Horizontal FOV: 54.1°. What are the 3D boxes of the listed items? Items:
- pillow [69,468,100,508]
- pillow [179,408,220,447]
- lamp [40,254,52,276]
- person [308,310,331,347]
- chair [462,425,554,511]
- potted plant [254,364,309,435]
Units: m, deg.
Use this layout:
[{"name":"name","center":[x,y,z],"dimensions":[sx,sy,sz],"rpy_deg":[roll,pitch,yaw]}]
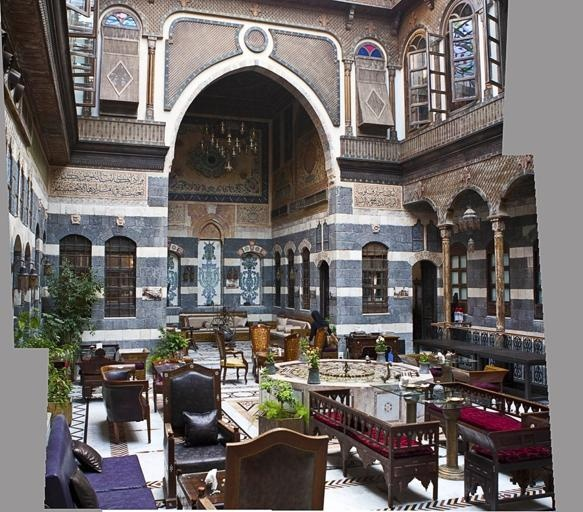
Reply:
[{"name":"pillow","center":[-1.597,1.792,4.324],"dimensions":[0.202,0.272,0.230],"rpy_deg":[-2,-6,7]},{"name":"pillow","center":[-1.020,1.954,6.441],"dimensions":[0.504,0.512,0.279],"rpy_deg":[5,-29,-16]},{"name":"lamp","center":[-5.500,0.182,12.773],"dimensions":[0.217,0.510,1.107],"rpy_deg":[1,-6,-21]},{"name":"person","center":[0.718,1.855,14.362],"dimensions":[0.671,0.938,0.321],"rpy_deg":[-7,12,-1]},{"name":"chair","center":[2.229,2.122,6.189],"dimensions":[1.068,0.967,0.732],"rpy_deg":[0,-3,-21]},{"name":"potted plant","center":[-0.159,2.019,7.903],"dimensions":[0.751,1.178,0.969],"rpy_deg":[-1,-1,9]}]
